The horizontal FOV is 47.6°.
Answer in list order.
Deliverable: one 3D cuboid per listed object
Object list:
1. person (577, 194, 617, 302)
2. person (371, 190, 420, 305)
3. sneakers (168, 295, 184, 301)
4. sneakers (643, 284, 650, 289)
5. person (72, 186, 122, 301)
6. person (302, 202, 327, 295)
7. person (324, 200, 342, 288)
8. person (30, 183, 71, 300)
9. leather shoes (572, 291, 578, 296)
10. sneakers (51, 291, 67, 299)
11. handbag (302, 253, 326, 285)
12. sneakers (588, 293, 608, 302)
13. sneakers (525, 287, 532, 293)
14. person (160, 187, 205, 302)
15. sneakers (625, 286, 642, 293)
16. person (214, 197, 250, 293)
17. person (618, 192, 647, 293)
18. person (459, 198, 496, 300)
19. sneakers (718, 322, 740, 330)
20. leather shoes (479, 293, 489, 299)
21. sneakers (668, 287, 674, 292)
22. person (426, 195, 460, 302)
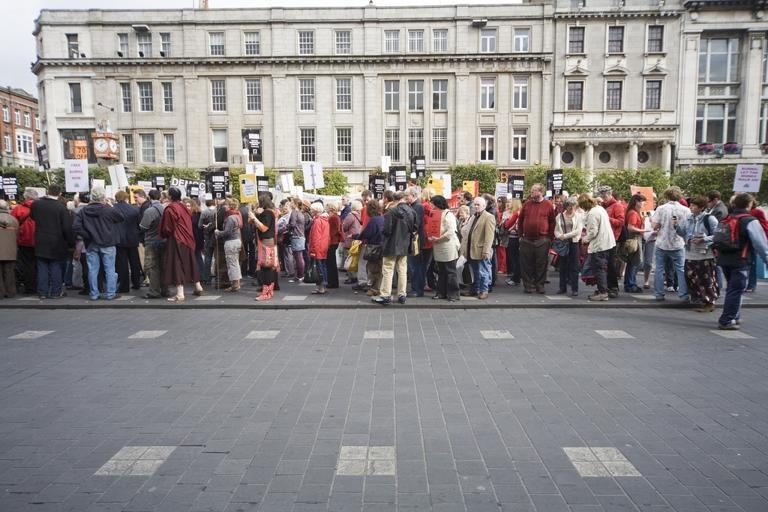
[{"bbox_3d":[6.929,-0.290,28.193,0.994,3.427,0.620,-2,4,12],"label":"person"},{"bbox_3d":[0.354,-0.241,27.856,1.412,3.563,0.737,-6,5,-30],"label":"person"},{"bbox_3d":[-6.735,1.403,28.327,0.361,0.111,0.245,4,-4,-31],"label":"sneakers"},{"bbox_3d":[9.013,1.052,30.042,0.163,0.120,0.432,-2,-1,16],"label":"sneakers"},{"bbox_3d":[-9.276,-0.383,28.435,1.380,3.637,0.523,-5,4,-17],"label":"person"},{"bbox_3d":[-2.172,-0.296,29.400,0.714,3.102,0.656,-4,4,-4],"label":"person"},{"bbox_3d":[-1.735,-0.309,29.824,0.632,2.914,0.745,-4,4,-8],"label":"person"},{"bbox_3d":[-10.961,-0.477,28.850,1.222,3.706,0.634,-5,4,-19],"label":"person"},{"bbox_3d":[6.279,1.239,28.767,0.151,0.161,0.398,-2,-3,9],"label":"leather shoes"},{"bbox_3d":[-10.818,1.323,28.943,0.503,0.203,0.172,-11,-7,44],"label":"sneakers"},{"bbox_3d":[-2.430,0.473,30.115,1.050,1.058,0.388,-8,-13,43],"label":"handbag"},{"bbox_3d":[6.877,1.348,28.105,0.590,0.251,0.234,2,6,16],"label":"sneakers"},{"bbox_3d":[4.820,1.146,29.208,0.201,0.089,0.263,-1,4,10],"label":"sneakers"},{"bbox_3d":[-6.660,-0.356,28.238,1.087,3.671,0.400,-4,4,-13],"label":"person"},{"bbox_3d":[8.435,1.151,29.435,0.605,0.221,0.208,-2,20,-12],"label":"sneakers"},{"bbox_3d":[-5.235,-0.365,29.503,0.784,3.173,0.708,-2,4,16],"label":"person"},{"bbox_3d":[8.320,-0.425,29.325,0.904,3.324,1.099,-2,4,15],"label":"person"},{"bbox_3d":[3.048,-0.274,28.836,0.876,3.297,1.045,-7,5,-37],"label":"person"},{"bbox_3d":[10.148,2.087,25.806,0.626,0.271,0.226,-3,22,8],"label":"sneakers"},{"bbox_3d":[3.244,1.288,28.598,0.247,0.205,0.388,-2,5,15],"label":"leather shoes"},{"bbox_3d":[9.732,1.141,29.604,0.138,0.164,0.402,-1,-3,20],"label":"sneakers"},{"bbox_3d":[1.945,-0.240,28.199,0.851,3.462,0.663,-3,4,7],"label":"person"}]
